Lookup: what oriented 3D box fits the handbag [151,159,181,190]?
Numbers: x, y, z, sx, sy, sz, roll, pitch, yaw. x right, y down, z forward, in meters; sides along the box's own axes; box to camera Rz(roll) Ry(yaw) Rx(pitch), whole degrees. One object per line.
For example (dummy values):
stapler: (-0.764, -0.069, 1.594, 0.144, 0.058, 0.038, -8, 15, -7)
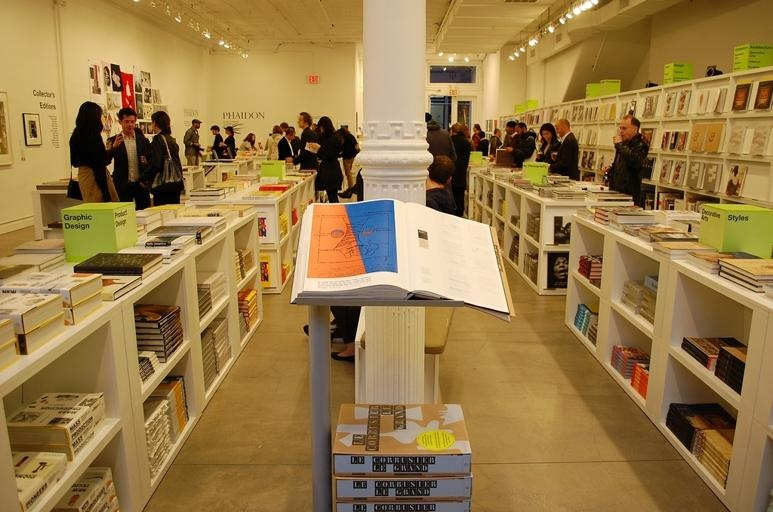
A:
handbag: (-3.213, -1.189, 7.140, 0.156, 0.326, 0.365, 12, 20, 3)
